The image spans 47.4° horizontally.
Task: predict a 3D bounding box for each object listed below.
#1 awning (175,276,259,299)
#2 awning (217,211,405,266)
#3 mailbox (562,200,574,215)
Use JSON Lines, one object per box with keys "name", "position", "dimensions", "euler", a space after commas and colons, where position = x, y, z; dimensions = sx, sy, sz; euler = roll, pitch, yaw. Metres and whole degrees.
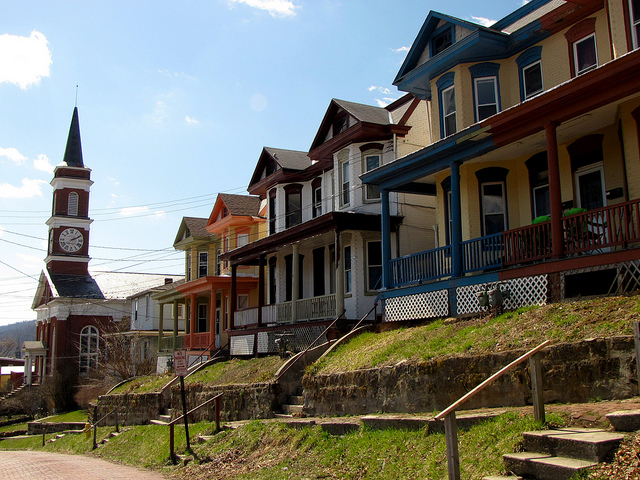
{"name": "awning", "position": [-5.818, 2.597, 40.042], "dimensions": [4.817, 0.821, 2.813], "euler": [-14, -18, 41]}
{"name": "awning", "position": [-1.413, 0.286, 33.127], "dimensions": [2.596, 0.975, 11.010], "euler": [6, -16, -32]}
{"name": "mailbox", "position": [7.770, -0.995, 22.955], "dimensions": [0.221, 0.415, 0.424], "euler": [3, -6, -21]}
